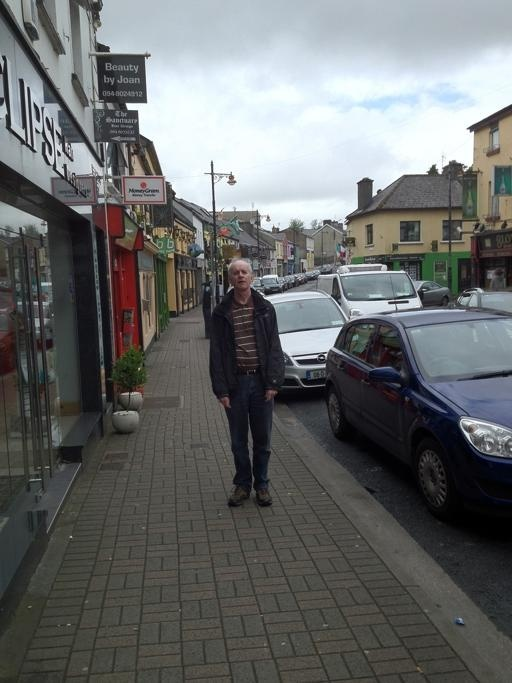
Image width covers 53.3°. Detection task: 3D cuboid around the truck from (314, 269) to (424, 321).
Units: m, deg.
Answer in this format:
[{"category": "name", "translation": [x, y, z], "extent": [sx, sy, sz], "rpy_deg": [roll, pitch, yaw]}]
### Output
[{"category": "truck", "translation": [3.238, -1.481, 15.129], "extent": [1.676, 1.776, 3.051], "rpy_deg": [-5, -3, -8]}]

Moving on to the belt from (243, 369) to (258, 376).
[{"category": "belt", "translation": [-0.045, 0.241, 3.989], "extent": [0.110, 0.043, 0.025], "rpy_deg": [0, 0, -4]}]

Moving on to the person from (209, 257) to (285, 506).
[{"category": "person", "translation": [-0.086, 0.349, 4.111], "extent": [0.570, 1.983, 0.532], "rpy_deg": [0, 0, -9]}]

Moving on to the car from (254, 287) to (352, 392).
[{"category": "car", "translation": [0.999, -0.136, 9.927], "extent": [1.115, 1.110, 2.173], "rpy_deg": [-2, -1, -5]}]

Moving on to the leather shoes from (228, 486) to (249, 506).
[{"category": "leather shoes", "translation": [-0.148, 1.294, 4.251], "extent": [0.081, 0.112, 0.232], "rpy_deg": [19, -7, 15]}]

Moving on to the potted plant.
[{"category": "potted plant", "translation": [-1.877, 0.657, 7.477], "extent": [0.462, 1.181, 1.331], "rpy_deg": [0, 0, -15]}]
